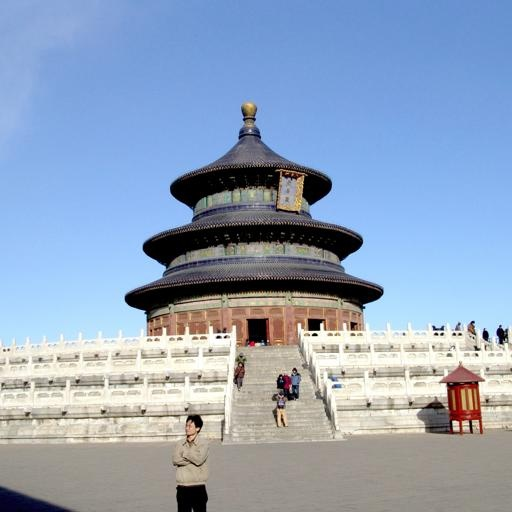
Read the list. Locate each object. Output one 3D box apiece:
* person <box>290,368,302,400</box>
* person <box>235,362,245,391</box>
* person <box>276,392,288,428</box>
[{"bbox_3d":[1.485,4.865,20.124,0.352,1.194,0.538,-4,-16,1],"label":"person"},{"bbox_3d":[-0.724,4.839,21.455,0.407,1.196,0.836,-2,-16,-3],"label":"person"},{"bbox_3d":[0.855,5.303,18.164,0.397,1.139,1.196,-4,-16,1],"label":"person"}]
